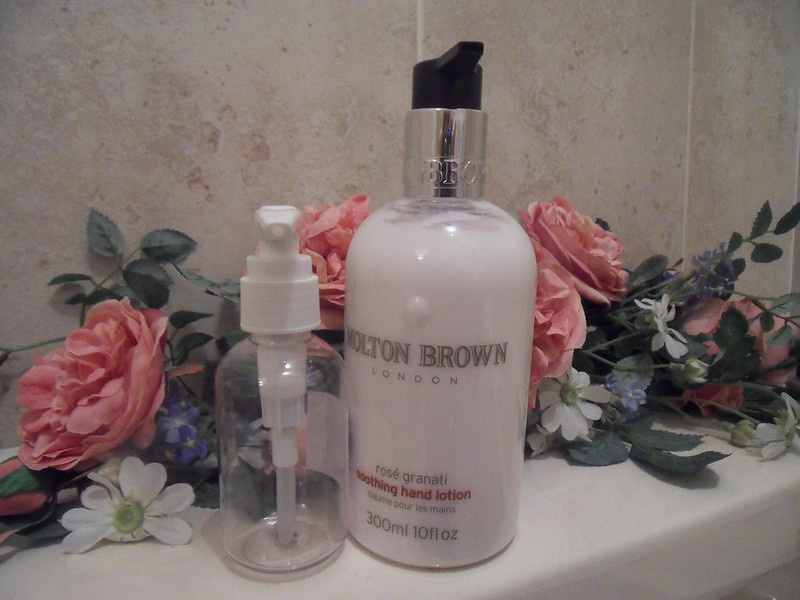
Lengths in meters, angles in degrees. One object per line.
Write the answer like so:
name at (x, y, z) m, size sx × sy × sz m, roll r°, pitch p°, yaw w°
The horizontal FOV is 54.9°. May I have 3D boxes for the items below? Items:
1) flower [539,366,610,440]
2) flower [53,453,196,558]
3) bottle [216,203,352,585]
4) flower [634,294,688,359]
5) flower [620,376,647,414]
flower at (0.169, 0.095, 0.760) m, size 0.021 × 0.069 × 0.071 m, roll -17°, pitch 23°, yaw 34°
flower at (-0.234, 0.175, 0.664) m, size 0.109 × 0.076 × 0.031 m, roll -3°, pitch 12°, yaw -8°
bottle at (-0.101, 0.073, 0.645) m, size 0.114 × 0.304 × 0.082 m, roll -4°, pitch 12°, yaw -13°
flower at (0.271, 0.024, 0.795) m, size 0.052 × 0.066 × 0.082 m, roll 3°, pitch 12°, yaw 20°
flower at (0.231, 0.095, 0.766) m, size 0.031 × 0.032 × 0.012 m, roll 35°, pitch -24°, yaw -18°
